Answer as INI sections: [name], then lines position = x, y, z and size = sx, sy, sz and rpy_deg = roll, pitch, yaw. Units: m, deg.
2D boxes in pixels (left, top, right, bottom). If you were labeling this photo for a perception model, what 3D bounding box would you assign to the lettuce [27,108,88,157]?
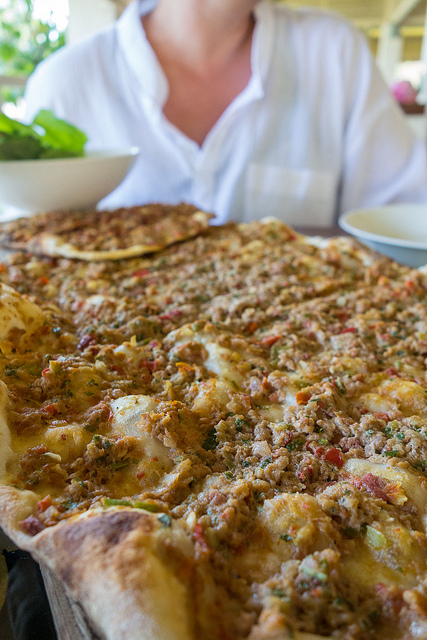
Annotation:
[lettuce]
position = -0.368, -0.447, 1.319
size = 0.126, 0.119, 0.026
rpy_deg = 24, -5, 7
